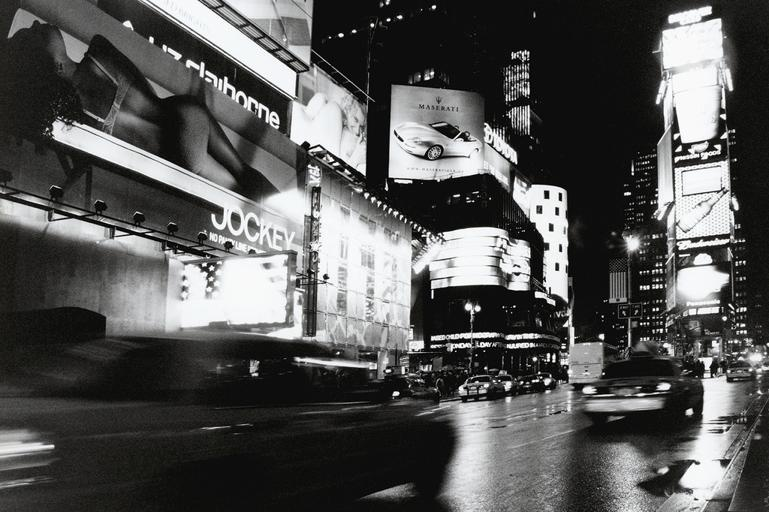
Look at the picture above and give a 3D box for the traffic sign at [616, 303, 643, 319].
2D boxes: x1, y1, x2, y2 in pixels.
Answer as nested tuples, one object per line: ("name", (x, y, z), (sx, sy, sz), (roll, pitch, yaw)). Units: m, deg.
("traffic sign", (21.162, 4.686, 67.636), (2.013, 1.474, 0.252), (-3, 9, -36))
